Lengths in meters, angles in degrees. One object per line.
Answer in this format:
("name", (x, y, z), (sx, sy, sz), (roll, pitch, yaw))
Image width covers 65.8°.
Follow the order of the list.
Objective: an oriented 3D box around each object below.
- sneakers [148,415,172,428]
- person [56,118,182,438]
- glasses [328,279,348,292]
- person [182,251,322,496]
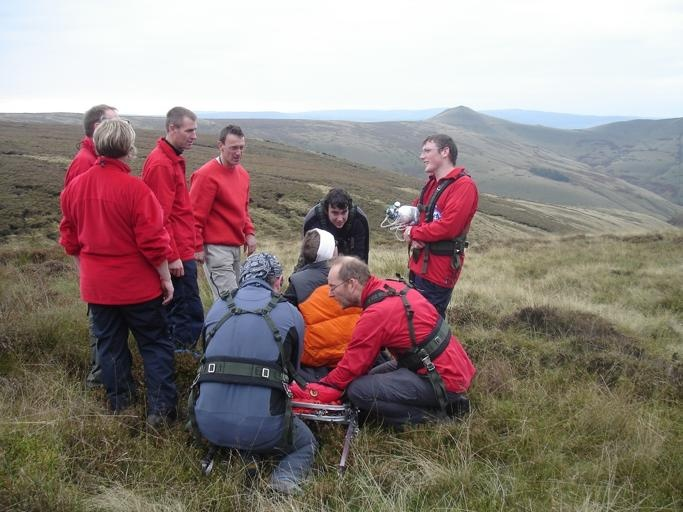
("sneakers", (-1.903, 1.716, 5.490), (0.157, 0.125, 0.156), (2, -2, 24))
("person", (-2.290, 0.163, 5.530), (1.412, 3.070, 0.656), (11, 15, 28))
("glasses", (-0.045, 0.312, 5.581), (0.193, 0.127, 0.048), (12, 15, 30))
("person", (-0.815, 1.140, 5.191), (1.292, 1.896, 0.828), (8, 13, 17))
